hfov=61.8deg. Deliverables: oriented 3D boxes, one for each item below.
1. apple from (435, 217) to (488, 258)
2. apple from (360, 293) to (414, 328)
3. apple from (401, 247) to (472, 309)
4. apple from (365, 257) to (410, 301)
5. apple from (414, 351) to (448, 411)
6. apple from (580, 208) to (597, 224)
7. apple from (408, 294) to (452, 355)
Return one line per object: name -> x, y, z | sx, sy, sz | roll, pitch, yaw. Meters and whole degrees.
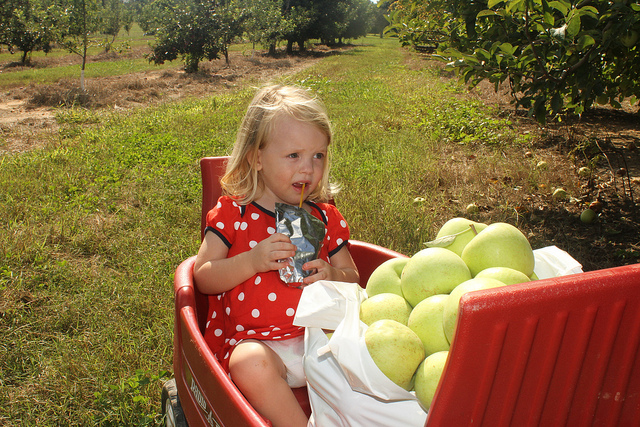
apple -> 0.946, 0.120, 3.539 | 0.302, 0.264, 0.282 | -2, 9, -16
apple -> 0.396, 0.574, 3.280 | 0.298, 0.202, 0.233 | -7, 11, -26
apple -> 0.698, 0.348, 3.332 | 0.388, 0.387, 0.350 | 7, -1, -5
apple -> 0.431, 0.413, 3.462 | 0.310, 0.347, 0.177 | 3, -5, -3
apple -> 0.619, 0.920, 3.005 | 0.178, 0.319, 0.193 | 1, 14, 10
apple -> 2.681, 0.031, 5.321 | 0.178, 0.131, 0.111 | 5, 23, 4
apple -> 0.628, 0.673, 3.221 | 0.271, 0.350, 0.282 | 6, -25, -25
